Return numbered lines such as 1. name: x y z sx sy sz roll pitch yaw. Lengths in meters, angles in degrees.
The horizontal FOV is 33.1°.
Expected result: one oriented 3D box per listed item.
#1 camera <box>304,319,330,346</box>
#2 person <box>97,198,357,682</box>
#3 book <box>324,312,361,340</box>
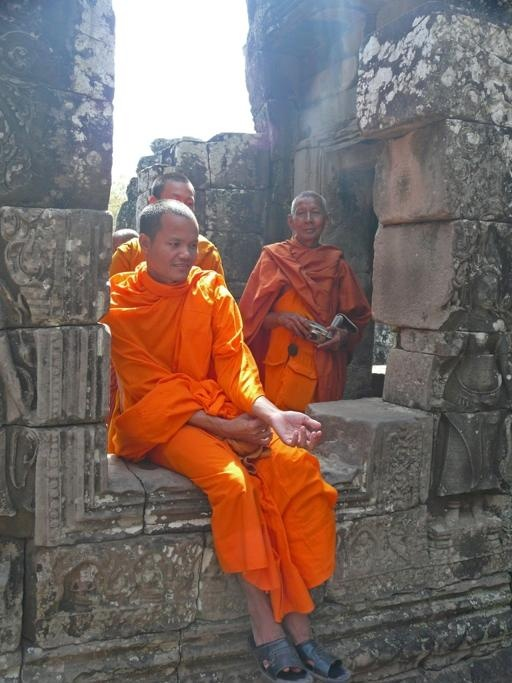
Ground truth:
1. camera: 0.326 -0.042 4.638 0.126 0.118 0.050 24 -53 -20
2. person: -0.099 0.315 3.225 1.013 1.141 0.440 1 0 28
3. book: 0.461 -0.061 4.690 0.162 0.133 0.039 5 37 -12
